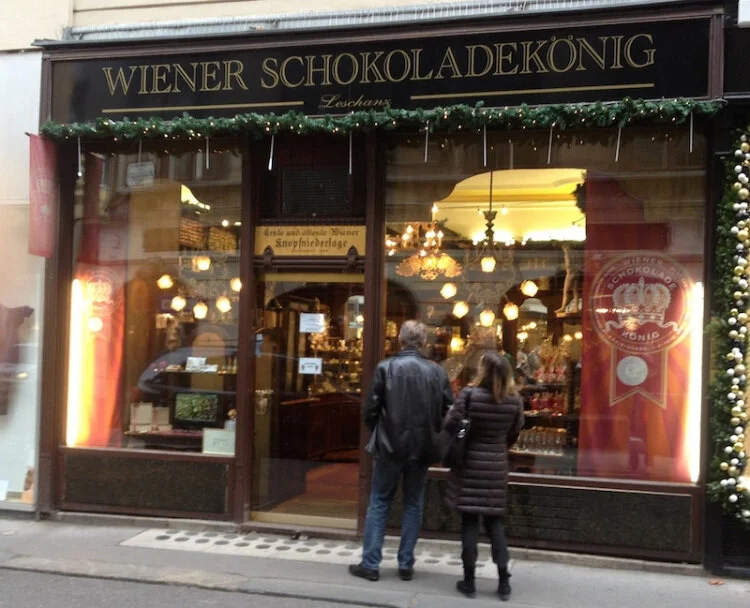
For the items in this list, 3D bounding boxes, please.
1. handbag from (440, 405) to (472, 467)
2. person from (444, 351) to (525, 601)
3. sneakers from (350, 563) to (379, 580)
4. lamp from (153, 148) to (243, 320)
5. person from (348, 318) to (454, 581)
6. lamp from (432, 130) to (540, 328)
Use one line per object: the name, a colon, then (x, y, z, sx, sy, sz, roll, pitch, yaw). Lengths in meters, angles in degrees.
handbag: (0.695, 1.117, 7.926, 0.236, 0.479, 0.539, 15, 1, 3)
person: (0.910, 1.435, 8.007, 0.641, 2.024, 0.559, 2, 11, 8)
sneakers: (-0.096, 2.348, 8.300, 0.292, 0.115, 0.104, 5, 0, 38)
lamp: (-1.762, -0.714, 9.816, 0.897, 1.750, 0.341, 5, 12, 22)
person: (0.220, 1.297, 8.274, 0.886, 2.195, 0.551, -6, 13, -32)
lamp: (1.168, -0.663, 9.443, 0.811, 1.331, 0.765, 3, -7, -21)
